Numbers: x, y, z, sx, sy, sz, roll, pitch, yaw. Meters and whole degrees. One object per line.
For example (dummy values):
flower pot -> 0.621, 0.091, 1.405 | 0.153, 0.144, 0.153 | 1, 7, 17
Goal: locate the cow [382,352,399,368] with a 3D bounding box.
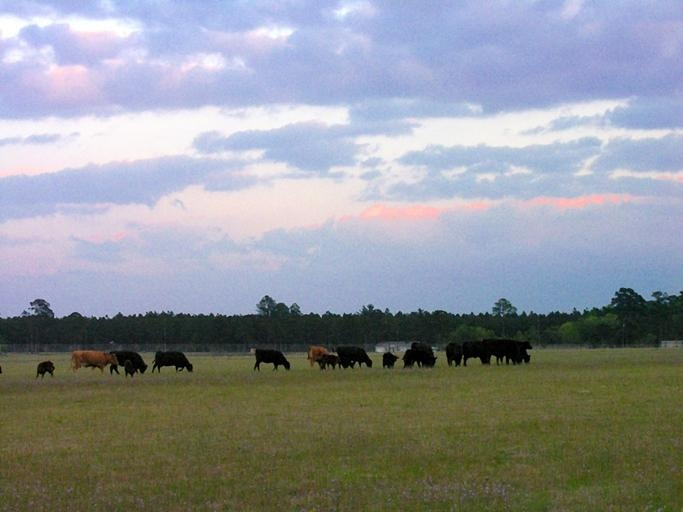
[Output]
cow -> 3.304, 7.466, 72.753 | 0.788, 0.994, 1.926 | 1, 0, -3

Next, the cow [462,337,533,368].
cow -> 10.773, 6.662, 71.593 | 4.582, 1.782, 2.414 | 1, 0, 6
